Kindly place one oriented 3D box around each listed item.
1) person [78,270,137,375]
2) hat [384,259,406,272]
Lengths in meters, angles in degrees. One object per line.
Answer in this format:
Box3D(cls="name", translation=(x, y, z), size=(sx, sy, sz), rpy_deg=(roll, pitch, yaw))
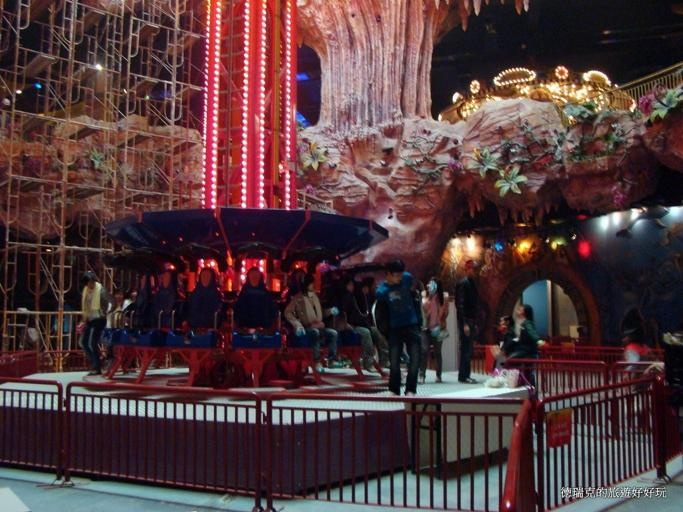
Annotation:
Box3D(cls="person", translation=(-4.849, 1.330, 16.052), size=(0.518, 2.019, 0.715), rpy_deg=(2, -8, -27))
Box3D(cls="hat", translation=(0.858, 0.172, 13.064), size=(0.261, 0.196, 0.318), rpy_deg=(-3, -7, 9))
